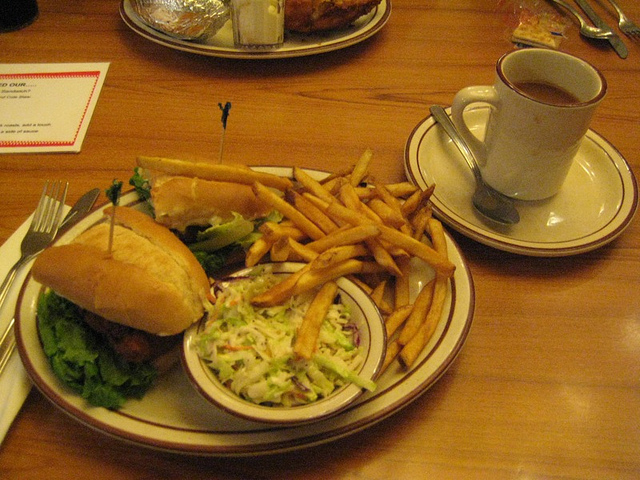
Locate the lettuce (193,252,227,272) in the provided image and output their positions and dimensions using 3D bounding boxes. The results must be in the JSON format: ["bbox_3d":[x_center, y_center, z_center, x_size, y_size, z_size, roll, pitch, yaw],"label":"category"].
[{"bbox_3d":[-0.331,0.061,1.530,0.081,0.019,0.048,25,64,-28],"label":"lettuce"}]

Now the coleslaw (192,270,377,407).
[{"bbox_3d":[-0.112,0.234,1.322,0.437,0.089,0.393,-5,54,-5],"label":"coleslaw"}]

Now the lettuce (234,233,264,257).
[{"bbox_3d":[-0.216,0.009,1.554,0.074,0.028,0.067,-13,71,10],"label":"lettuce"}]

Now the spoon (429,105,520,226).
[{"bbox_3d":[0.488,-0.269,1.768,0.126,0.066,0.563,-18,51,-11],"label":"spoon"}]

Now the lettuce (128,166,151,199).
[{"bbox_3d":[-0.574,-0.184,1.620,0.077,0.029,0.103,-12,77,7],"label":"lettuce"}]

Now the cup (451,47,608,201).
[{"bbox_3d":[0.625,-0.367,1.656,0.497,0.392,0.286,-9,52,-7],"label":"cup"}]

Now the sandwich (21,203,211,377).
[{"bbox_3d":[-0.528,0.168,1.459,0.536,0.178,0.409,43,64,1],"label":"sandwich"}]

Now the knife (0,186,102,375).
[{"bbox_3d":[-0.800,0.072,1.548,0.080,0.048,0.716,16,53,11],"label":"knife"}]
